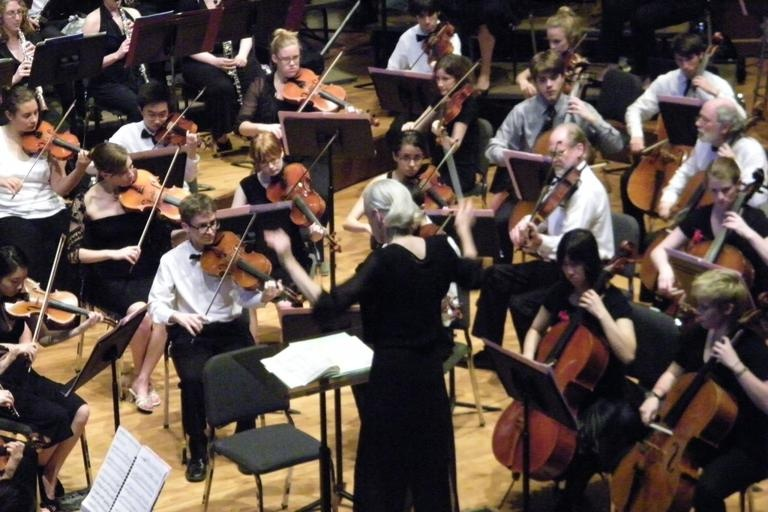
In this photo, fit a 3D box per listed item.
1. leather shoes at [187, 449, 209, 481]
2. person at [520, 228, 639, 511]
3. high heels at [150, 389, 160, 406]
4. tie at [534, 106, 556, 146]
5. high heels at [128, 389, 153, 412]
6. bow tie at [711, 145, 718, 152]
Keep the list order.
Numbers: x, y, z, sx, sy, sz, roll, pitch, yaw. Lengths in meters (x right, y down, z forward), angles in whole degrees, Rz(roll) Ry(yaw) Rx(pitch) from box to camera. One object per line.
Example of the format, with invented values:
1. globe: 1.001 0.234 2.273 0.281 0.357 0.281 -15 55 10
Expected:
1. leather shoes: -1.217 1.391 4.992 0.139 0.127 0.295 1 14 -8
2. person: 1.231 0.698 4.573 0.641 1.672 0.757 -1 13 -5
3. high heels: -1.702 1.053 5.603 0.051 0.043 0.133 -6 16 -23
4. tie: 1.398 -1.111 6.461 0.077 0.326 0.171 15 0 -32
5. high heels: -1.797 1.085 5.570 0.240 0.062 0.112 43 28 26
6. bow tie: 2.519 -0.815 5.738 0.058 0.055 0.014 19 37 25
